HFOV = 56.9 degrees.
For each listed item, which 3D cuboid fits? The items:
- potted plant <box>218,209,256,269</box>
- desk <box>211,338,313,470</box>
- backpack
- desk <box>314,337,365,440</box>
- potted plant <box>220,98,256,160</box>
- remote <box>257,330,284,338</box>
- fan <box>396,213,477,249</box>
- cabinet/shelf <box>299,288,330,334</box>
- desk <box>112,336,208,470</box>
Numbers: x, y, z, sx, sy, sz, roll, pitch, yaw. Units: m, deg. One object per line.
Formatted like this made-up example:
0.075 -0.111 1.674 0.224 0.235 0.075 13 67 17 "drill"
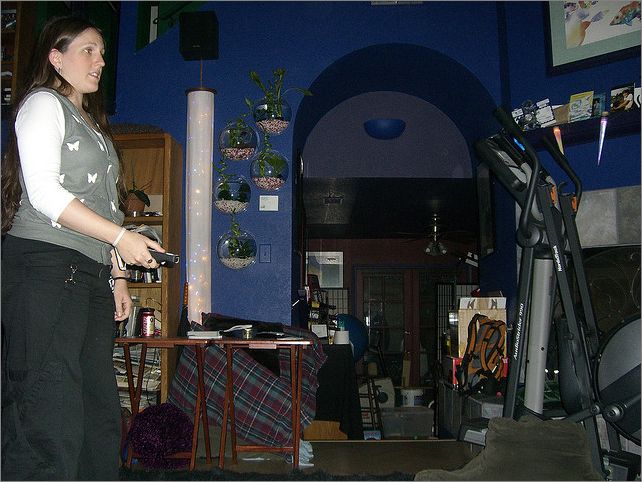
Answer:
-0.678 -0.003 4.773 0.317 0.450 0.216 1 -6 -8 "potted plant"
-0.352 1.020 3.711 0.626 0.761 0.539 4 -17 -14 "desk"
1.170 0.844 4.337 0.287 0.567 0.398 14 -19 -8 "backpack"
0.088 1.128 4.439 0.550 0.752 0.555 -2 -11 9 "desk"
-0.669 -0.913 4.805 0.314 0.524 0.323 1 -6 -9 "potted plant"
-0.316 0.598 3.778 0.146 0.032 0.275 3 -7 -18 "remote"
1.641 -0.282 8.433 0.757 0.323 0.745 12 -19 -40 "fan"
-0.086 0.608 5.343 0.385 0.410 0.262 2 -5 -1 "cabinet/shelf"
-0.997 1.041 3.741 0.501 0.791 0.427 0 -19 -13 "desk"
